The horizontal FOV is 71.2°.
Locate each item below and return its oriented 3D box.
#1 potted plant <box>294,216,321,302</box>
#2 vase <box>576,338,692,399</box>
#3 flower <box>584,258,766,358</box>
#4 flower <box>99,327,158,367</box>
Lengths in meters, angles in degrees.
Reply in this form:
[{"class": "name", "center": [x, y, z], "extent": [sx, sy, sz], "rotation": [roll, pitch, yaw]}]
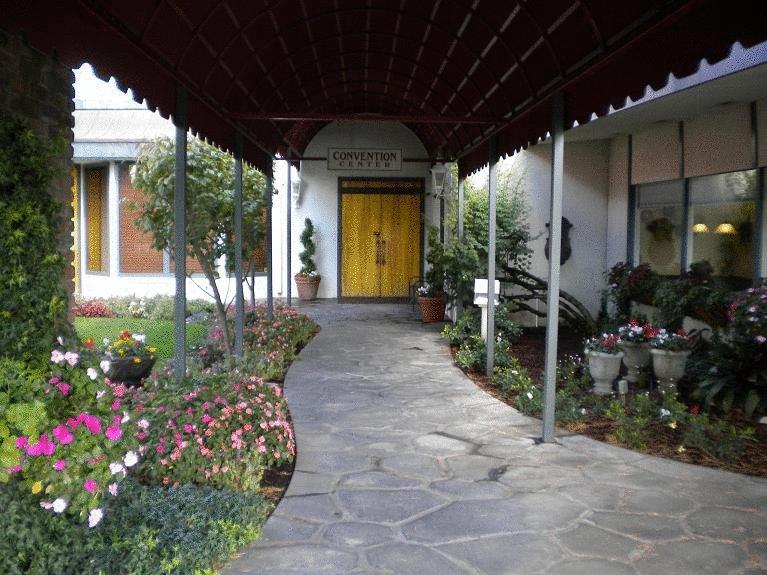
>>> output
[{"class": "potted plant", "center": [-2.289, -0.830, 16.494], "extent": [0.731, 2.532, 0.660], "rotation": [0, 3, -9]}, {"class": "vase", "center": [3.207, 1.060, 7.002], "extent": [1.220, 0.664, 0.665], "rotation": [1, 3, 2]}, {"class": "flower", "center": [4.202, 0.271, 7.996], "extent": [1.093, 0.570, 1.701], "rotation": [-15, 6, -18]}, {"class": "flower", "center": [-3.702, 0.889, 7.839], "extent": [0.646, 0.497, 0.699], "rotation": [-1, 7, -14]}]
